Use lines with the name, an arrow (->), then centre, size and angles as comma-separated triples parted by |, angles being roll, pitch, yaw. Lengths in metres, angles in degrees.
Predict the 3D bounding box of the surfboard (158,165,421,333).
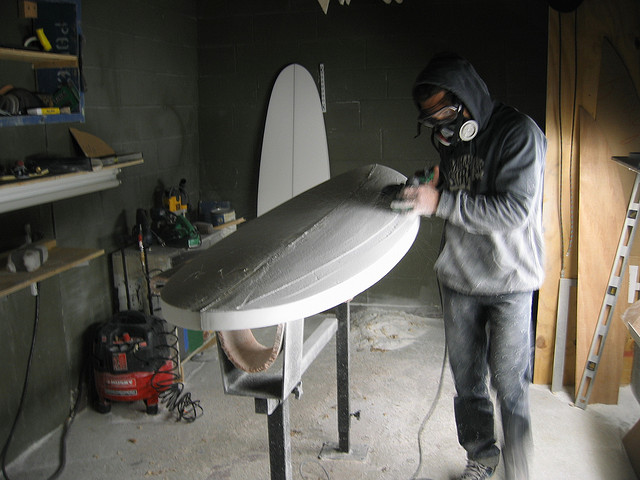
surfboard -> -0.104, 0.098, 2.371 | 1.146, 0.711, 0.635 | -6, 15, -23
